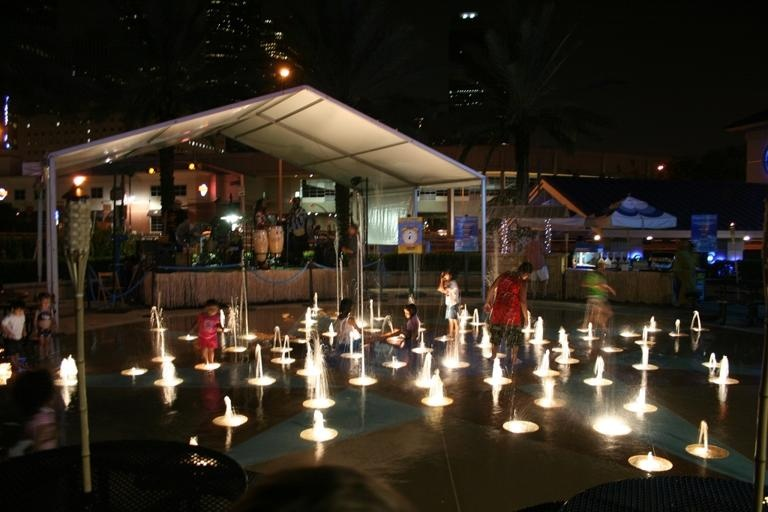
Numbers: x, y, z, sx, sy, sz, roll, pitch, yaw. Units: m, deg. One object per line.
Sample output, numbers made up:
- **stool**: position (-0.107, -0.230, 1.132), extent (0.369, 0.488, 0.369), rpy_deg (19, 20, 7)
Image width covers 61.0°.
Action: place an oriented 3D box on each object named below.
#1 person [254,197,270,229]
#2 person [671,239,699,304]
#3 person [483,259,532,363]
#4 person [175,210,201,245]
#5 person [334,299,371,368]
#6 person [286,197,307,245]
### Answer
- **person**: position (-4.699, -1.681, 25.066), extent (0.577, 1.130, 1.448), rpy_deg (-1, 7, -11)
- **person**: position (9.780, 0.528, 21.238), extent (0.726, 2.236, 1.060), rpy_deg (3, 8, 25)
- **person**: position (2.757, 1.270, 14.373), extent (0.932, 2.333, 0.363), rpy_deg (2, 7, 13)
- **person**: position (-7.359, -1.120, 24.339), extent (0.777, 1.234, 1.532), rpy_deg (0, 7, -2)
- **person**: position (-0.780, 1.652, 16.022), extent (0.832, 1.281, 2.114), rpy_deg (0, 7, -4)
- **person**: position (-3.491, -1.377, 25.942), extent (0.781, 2.040, 1.188), rpy_deg (0, 7, -3)
